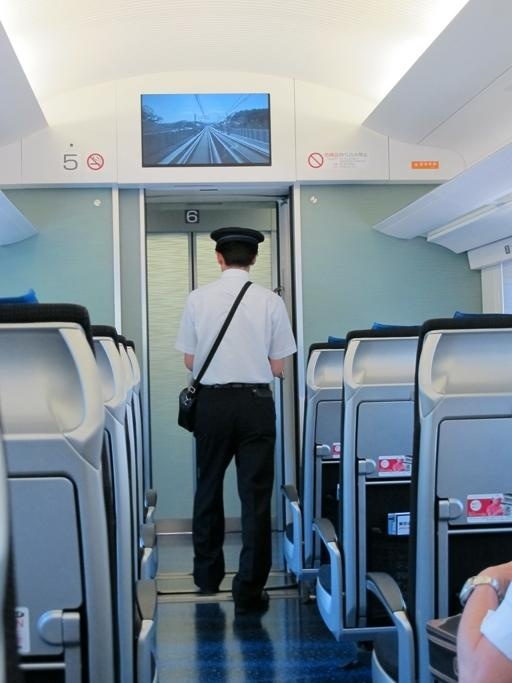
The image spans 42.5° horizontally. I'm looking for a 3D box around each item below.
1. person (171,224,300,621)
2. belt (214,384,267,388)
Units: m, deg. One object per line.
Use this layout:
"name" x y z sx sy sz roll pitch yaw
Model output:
"person" -0.100 0.370 3.490 0.632 1.976 0.384 -1 -3 3
"belt" -0.076 0.228 3.415 0.282 0.033 0.091 0 -5 -27
